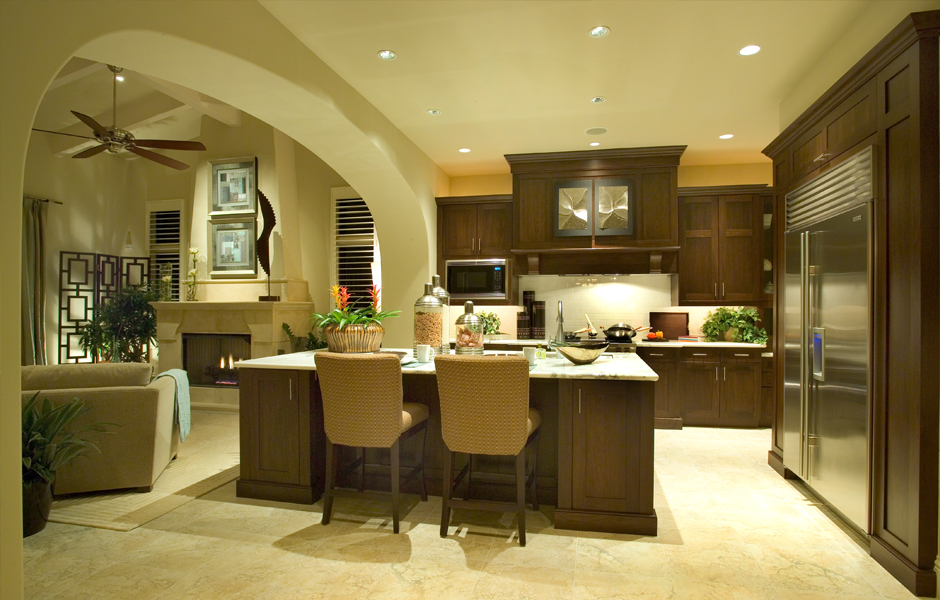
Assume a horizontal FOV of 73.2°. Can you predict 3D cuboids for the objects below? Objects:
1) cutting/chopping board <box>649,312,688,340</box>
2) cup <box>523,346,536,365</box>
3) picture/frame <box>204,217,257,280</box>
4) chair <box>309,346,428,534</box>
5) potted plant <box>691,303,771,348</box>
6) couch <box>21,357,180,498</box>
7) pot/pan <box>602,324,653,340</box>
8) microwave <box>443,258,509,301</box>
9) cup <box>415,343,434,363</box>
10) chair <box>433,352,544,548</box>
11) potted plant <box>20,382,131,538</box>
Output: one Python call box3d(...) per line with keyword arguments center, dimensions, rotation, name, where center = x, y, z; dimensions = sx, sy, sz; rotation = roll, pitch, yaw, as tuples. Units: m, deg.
box3d(center=(2.627, 0.312, 8.231), dimensions=(0.432, 0.365, 0.098), rotation=(3, -6, 18), name="cutting/chopping board")
box3d(center=(0.532, 0.473, 5.476), dimensions=(0.142, 0.146, 0.136), rotation=(1, 8, 0), name="cup")
box3d(center=(-3.362, -0.751, 8.975), dimensions=(0.976, 1.021, 0.110), rotation=(0, 1, 7), name="picture/frame")
box3d(center=(-0.837, 1.162, 5.489), dimensions=(0.851, 1.479, 0.799), rotation=(-1, 0, 9), name="chair")
box3d(center=(3.410, 0.265, 8.172), dimensions=(0.772, 0.451, 0.527), rotation=(2, 3, 23), name="potted plant")
box3d(center=(-3.524, 1.192, 6.058), dimensions=(1.433, 0.976, 1.257), rotation=(0, 0, -14), name="couch")
box3d(center=(2.013, 0.404, 7.947), dimensions=(0.455, 0.137, 0.275), rotation=(-1, 1, -43), name="pot/pan")
box3d(center=(0.104, -0.277, 8.396), dimensions=(0.927, 0.564, 0.543), rotation=(0, -3, 10), name="microwave")
box3d(center=(-0.395, 0.475, 5.745), dimensions=(0.185, 0.126, 0.176), rotation=(0, -5, 0), name="cup")
box3d(center=(0.177, 1.186, 5.294), dimensions=(0.826, 1.512, 0.804), rotation=(-1, 0, 5), name="chair")
box3d(center=(-3.480, 1.327, 5.385), dimensions=(0.612, 1.190, 0.795), rotation=(-1, 0, -23), name="potted plant")
